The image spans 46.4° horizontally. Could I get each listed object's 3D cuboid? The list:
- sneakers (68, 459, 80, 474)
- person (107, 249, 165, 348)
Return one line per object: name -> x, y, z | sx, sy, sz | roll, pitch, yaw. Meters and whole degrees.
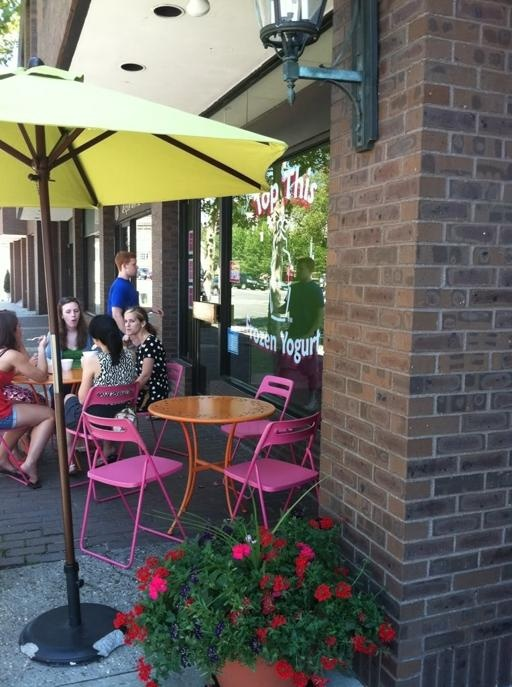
sneakers -> -1.602, 1.084, 5.224 | 0.116, 0.122, 0.136 | -3, -5, -8
person -> -1.566, -0.294, 7.504 | 0.629, 1.699, 0.734 | 6, 18, 6
